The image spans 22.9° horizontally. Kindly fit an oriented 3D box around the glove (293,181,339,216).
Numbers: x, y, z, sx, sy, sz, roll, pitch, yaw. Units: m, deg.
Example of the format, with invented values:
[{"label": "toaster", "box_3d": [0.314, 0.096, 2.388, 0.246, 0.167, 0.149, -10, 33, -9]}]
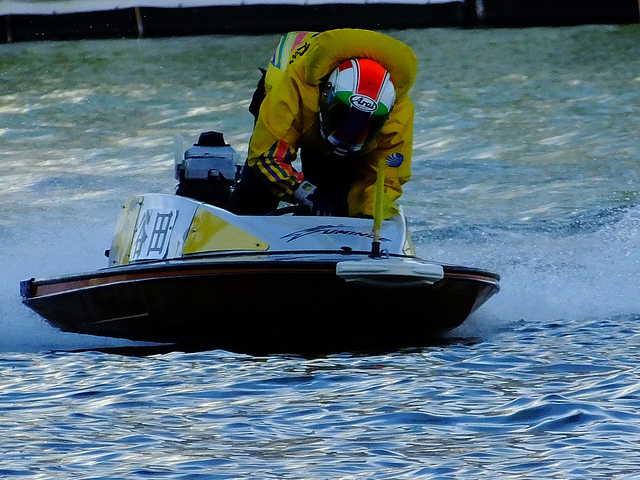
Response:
[{"label": "glove", "box_3d": [-0.030, -0.368, 13.774, 0.322, 0.304, 0.157, 4, 16, 21]}]
